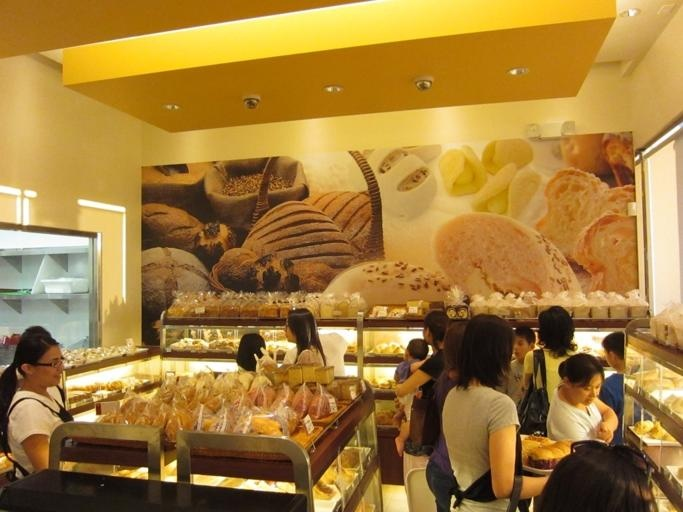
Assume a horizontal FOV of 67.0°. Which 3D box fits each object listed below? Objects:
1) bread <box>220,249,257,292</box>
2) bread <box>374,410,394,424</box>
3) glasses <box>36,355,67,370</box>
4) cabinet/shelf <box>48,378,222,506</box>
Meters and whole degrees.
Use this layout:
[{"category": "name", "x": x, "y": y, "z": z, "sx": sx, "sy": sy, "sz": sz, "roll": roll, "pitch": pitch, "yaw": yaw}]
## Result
[{"category": "bread", "x": -1.336, "y": 0.219, "z": 6.928, "sx": 0.435, "sy": 0.476, "sz": 0.584, "roll": 12, "pitch": -12, "yaw": -5}, {"category": "bread", "x": 0.427, "y": 1.591, "z": 5.038, "sx": 0.193, "sy": 0.178, "sz": 0.058, "roll": -2, "pitch": -5, "yaw": 11}, {"category": "glasses", "x": -1.742, "y": 0.641, "z": 3.068, "sx": 0.120, "sy": 0.036, "sz": 0.115, "roll": -1, "pitch": -2, "yaw": 10}, {"category": "cabinet/shelf", "x": -1.082, "y": 0.907, "z": 2.556, "sx": 0.511, "sy": 0.372, "sz": 0.374, "roll": 1, "pitch": -2, "yaw": 13}]
